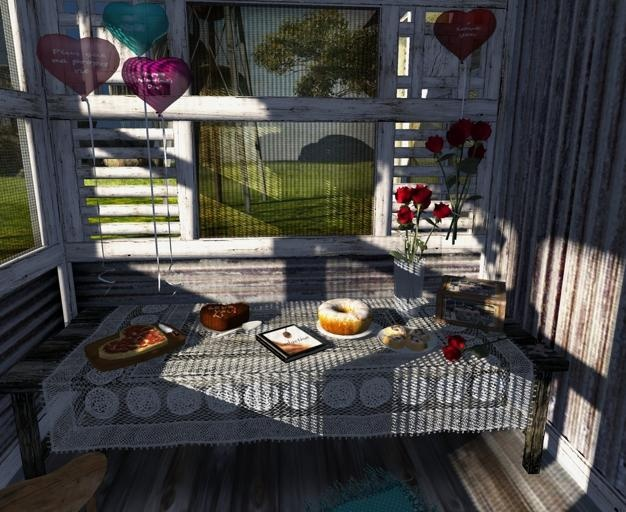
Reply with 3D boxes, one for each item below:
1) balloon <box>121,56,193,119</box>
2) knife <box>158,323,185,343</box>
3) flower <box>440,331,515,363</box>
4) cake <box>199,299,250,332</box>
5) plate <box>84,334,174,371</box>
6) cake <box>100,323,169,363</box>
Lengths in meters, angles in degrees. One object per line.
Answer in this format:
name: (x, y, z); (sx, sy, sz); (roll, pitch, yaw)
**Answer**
balloon: (-0.807, -0.951, 2.726); (0.556, 0.270, 0.351); (3, -67, -1)
knife: (-0.698, 0.378, 2.297); (0.094, 0.097, 0.021); (1, -72, -53)
flower: (0.762, 0.421, 2.190); (0.256, 0.121, 0.072); (-1, -73, 2)
cake: (-0.484, 0.299, 2.413); (0.183, 0.192, 0.050); (8, -77, 31)
plate: (-0.847, 0.449, 2.136); (0.270, 0.177, 0.034); (-7, -69, -20)
cake: (-0.843, 0.408, 2.206); (0.192, 0.177, 0.033); (4, -73, 9)
